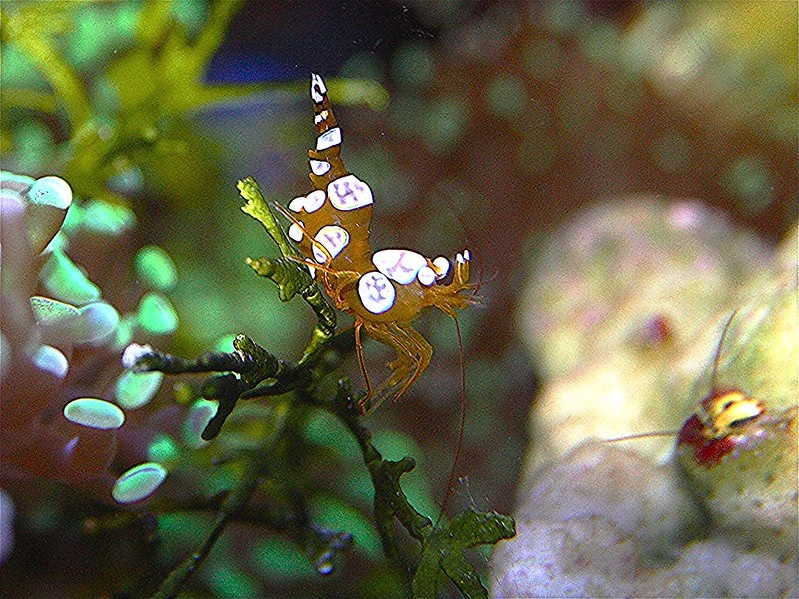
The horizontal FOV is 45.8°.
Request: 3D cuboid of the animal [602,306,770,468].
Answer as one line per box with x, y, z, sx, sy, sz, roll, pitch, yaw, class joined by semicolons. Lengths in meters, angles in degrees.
0.591;0.200;1.902;0.204;0.159;0.388;17;76;56;animal
